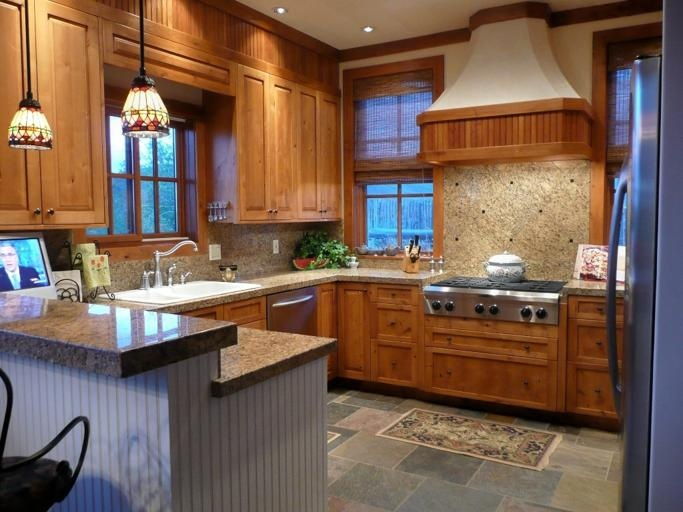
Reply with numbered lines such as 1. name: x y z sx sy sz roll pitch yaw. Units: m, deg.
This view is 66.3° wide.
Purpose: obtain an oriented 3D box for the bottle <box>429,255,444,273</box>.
1. bottle: 0.865 0.084 4.741 0.149 0.146 0.077 1 2 22

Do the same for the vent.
1. vent: 1.264 -1.350 4.031 1.207 1.217 0.530 3 7 30

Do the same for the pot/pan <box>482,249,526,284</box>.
1. pot/pan: 1.311 0.065 4.190 0.278 0.200 0.234 2 6 42

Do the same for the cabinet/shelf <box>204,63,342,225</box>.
1. cabinet/shelf: -0.581 -0.910 4.675 0.515 1.226 1.474 4 8 31

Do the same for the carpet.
1. carpet: 0.902 1.250 3.629 1.123 0.010 0.641 3 7 27

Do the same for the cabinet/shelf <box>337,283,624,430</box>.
1. cabinet/shelf: 1.256 0.722 4.195 2.238 0.880 0.603 0 -1 36

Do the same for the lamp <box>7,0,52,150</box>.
1. lamp: -1.450 -0.871 2.400 0.164 0.767 0.539 -4 7 -30

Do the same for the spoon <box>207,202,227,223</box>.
1. spoon: -0.963 -0.340 4.056 0.157 0.150 0.018 3 6 23

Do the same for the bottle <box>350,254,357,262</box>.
1. bottle: 0.105 0.031 4.991 0.061 0.077 0.059 -1 4 0

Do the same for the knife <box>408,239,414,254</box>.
1. knife: 0.619 -0.076 4.619 0.058 0.108 0.128 1 6 8
